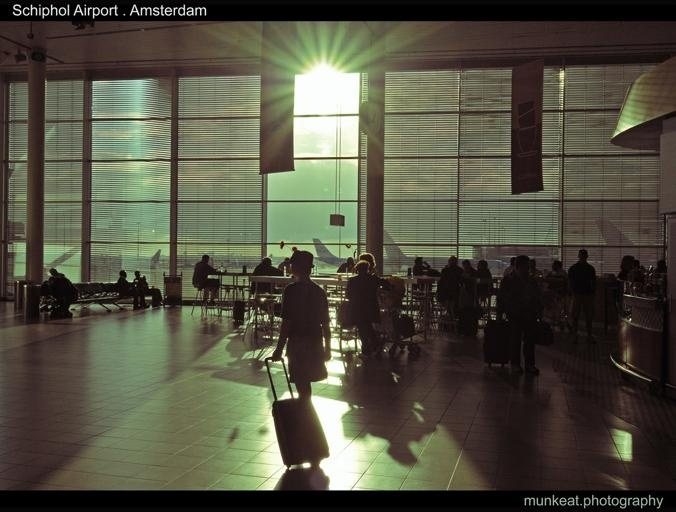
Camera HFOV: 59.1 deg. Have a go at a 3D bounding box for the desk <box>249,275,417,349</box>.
[{"bbox_3d":[0.011,0.992,11.128,3.230,1.457,2.337,1,2,30],"label":"desk"}]

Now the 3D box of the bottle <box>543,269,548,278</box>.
[{"bbox_3d":[5.635,0.468,16.202,0.074,0.231,0.267,9,6,9],"label":"bottle"}]

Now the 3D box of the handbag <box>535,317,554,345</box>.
[{"bbox_3d":[2.958,1.097,8.564,0.225,0.387,0.303,0,0,19],"label":"handbag"}]

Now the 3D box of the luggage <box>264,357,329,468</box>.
[{"bbox_3d":[-0.350,1.375,5.243,0.559,0.980,0.407,0,0,-5],"label":"luggage"}]

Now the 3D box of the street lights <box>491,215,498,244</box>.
[{"bbox_3d":[4.717,-0.772,18.094,0.275,0.800,0.047,0,0,12],"label":"street lights"}]
